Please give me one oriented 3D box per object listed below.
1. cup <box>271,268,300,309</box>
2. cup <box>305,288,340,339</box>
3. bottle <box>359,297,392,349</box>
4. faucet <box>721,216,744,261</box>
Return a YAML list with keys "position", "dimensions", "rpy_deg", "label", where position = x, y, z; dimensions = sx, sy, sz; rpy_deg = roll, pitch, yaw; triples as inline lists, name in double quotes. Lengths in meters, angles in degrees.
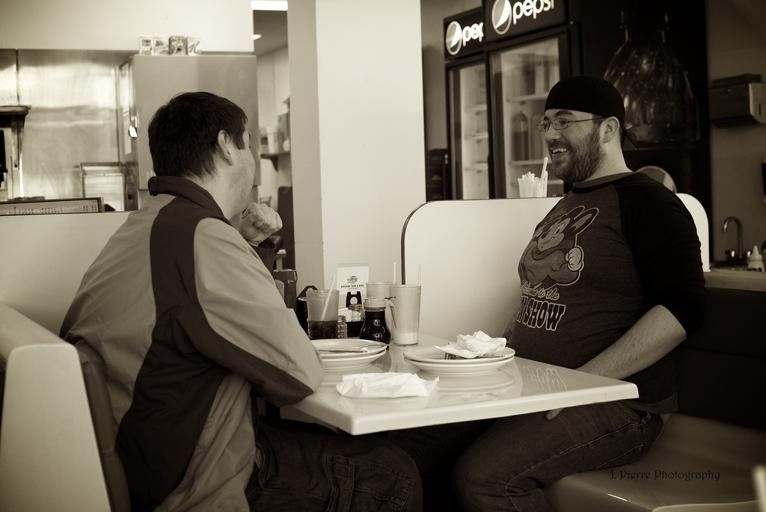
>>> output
- position: [-0.440, 0.134, 2.800]
  dimensions: [0.109, 0.199, 0.187]
  rpy_deg: [-6, -7, 22]
  label: "cup"
- position: [-0.242, 0.228, 2.543]
  dimensions: [0.114, 0.192, 0.119]
  rpy_deg: [3, 7, 0]
  label: "cup"
- position: [-0.011, 0.270, 2.570]
  dimensions: [0.159, 0.197, 0.131]
  rpy_deg: [-2, 0, -5]
  label: "bottle"
- position: [2.692, -0.129, 4.939]
  dimensions: [0.147, 0.340, 0.888]
  rpy_deg: [0, 4, 29]
  label: "faucet"
